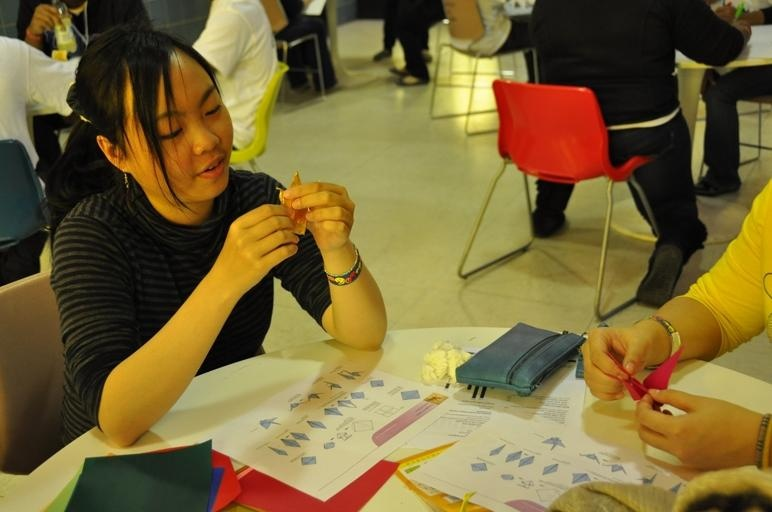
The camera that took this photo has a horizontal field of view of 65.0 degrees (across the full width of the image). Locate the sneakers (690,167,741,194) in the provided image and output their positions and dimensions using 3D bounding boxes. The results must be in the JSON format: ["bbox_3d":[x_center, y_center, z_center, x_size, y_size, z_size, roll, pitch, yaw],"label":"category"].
[{"bbox_3d":[2.092,-0.455,3.802,0.350,0.148,0.130,-1,0,0],"label":"sneakers"}]

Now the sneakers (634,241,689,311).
[{"bbox_3d":[1.323,0.104,2.908,0.216,0.359,0.122,23,-3,43],"label":"sneakers"}]

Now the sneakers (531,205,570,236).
[{"bbox_3d":[0.957,-0.202,3.597,0.228,0.144,0.129,4,15,-27],"label":"sneakers"}]
